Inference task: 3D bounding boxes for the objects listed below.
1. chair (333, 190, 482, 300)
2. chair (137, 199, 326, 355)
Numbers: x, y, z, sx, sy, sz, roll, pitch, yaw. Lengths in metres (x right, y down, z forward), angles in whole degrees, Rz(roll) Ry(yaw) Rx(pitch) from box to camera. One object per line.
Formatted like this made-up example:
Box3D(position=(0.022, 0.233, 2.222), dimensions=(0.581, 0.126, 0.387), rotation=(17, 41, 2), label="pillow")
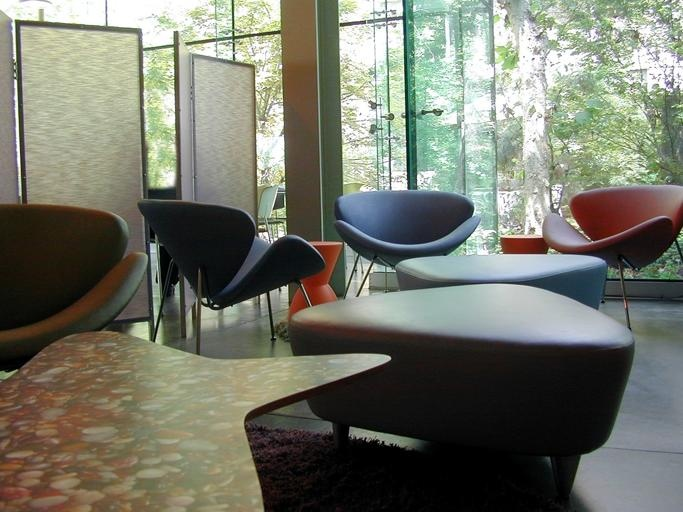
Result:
Box3D(position=(0.442, -0.075, 3.301), dimensions=(0.914, 0.659, 0.697), rotation=(-3, 12, -12), label="chair")
Box3D(position=(-0.505, 0.122, 2.610), dimensions=(0.930, 0.707, 0.919), rotation=(-1, 1, 25), label="chair")
